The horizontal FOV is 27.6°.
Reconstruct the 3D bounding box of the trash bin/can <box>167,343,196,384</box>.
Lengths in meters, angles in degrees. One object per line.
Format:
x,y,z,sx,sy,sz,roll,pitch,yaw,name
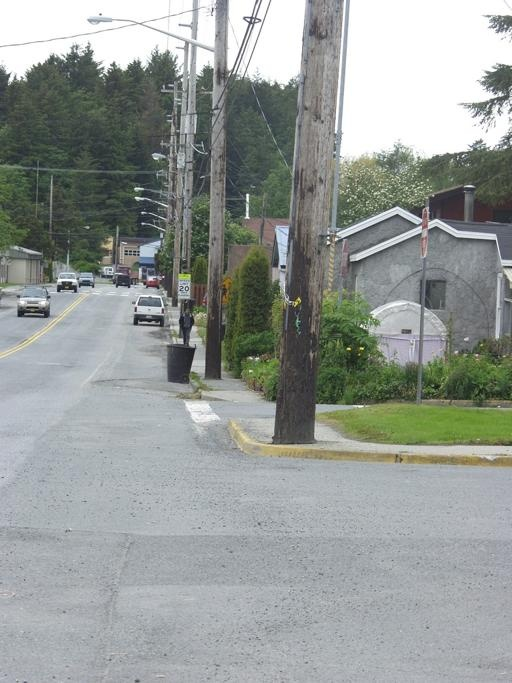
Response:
-1.930,0.579,26.359,0.863,1.002,0.843,4,6,11,trash bin/can
